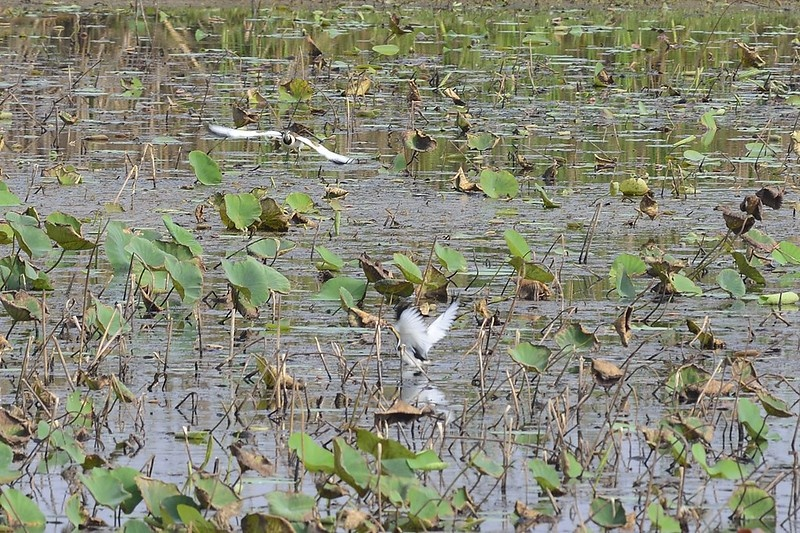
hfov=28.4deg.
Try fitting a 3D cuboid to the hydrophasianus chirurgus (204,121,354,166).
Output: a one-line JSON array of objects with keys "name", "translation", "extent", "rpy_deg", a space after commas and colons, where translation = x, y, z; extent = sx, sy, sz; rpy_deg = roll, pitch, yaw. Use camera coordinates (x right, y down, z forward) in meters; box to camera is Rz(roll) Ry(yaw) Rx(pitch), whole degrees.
[{"name": "hydrophasianus chirurgus", "translation": [-1.122, -1.197, 15.372], "extent": [1.092, 0.133, 0.693], "rpy_deg": [10, 7, 2]}]

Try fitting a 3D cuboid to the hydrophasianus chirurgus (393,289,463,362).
[{"name": "hydrophasianus chirurgus", "translation": [0.104, 0.460, 10.699], "extent": [0.463, 0.452, 0.555], "rpy_deg": [1, 6, 4]}]
